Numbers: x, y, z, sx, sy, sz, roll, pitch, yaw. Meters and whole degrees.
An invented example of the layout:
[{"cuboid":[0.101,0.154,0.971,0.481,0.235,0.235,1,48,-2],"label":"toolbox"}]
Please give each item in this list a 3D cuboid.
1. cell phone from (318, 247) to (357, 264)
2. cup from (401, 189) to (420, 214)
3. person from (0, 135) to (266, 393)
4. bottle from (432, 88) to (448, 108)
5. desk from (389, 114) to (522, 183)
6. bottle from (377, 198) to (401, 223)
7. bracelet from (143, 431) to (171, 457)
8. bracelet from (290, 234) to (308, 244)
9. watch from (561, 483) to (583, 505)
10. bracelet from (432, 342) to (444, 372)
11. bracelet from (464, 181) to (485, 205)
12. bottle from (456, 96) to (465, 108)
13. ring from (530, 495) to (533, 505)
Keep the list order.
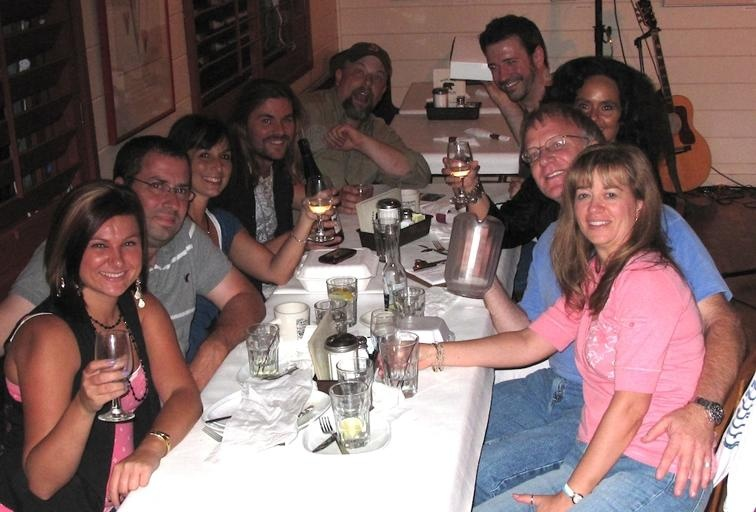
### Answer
[{"cuboid":[-0.170,0.002,2.553,0.127,0.073,0.123,1,-18,-43],"label":"cell phone"},{"cuboid":[0.183,-0.291,3.069,0.103,0.111,0.117,-1,12,5],"label":"cup"},{"cuboid":[-0.928,0.035,2.190,0.347,0.949,0.621,31,43,14],"label":"person"},{"cuboid":[0.514,-1.313,4.845,0.160,0.165,0.158,-1,9,1],"label":"bottle"},{"cuboid":[0.564,-0.873,4.321,0.668,0.226,0.982,3,21,5],"label":"desk"},{"cuboid":[0.047,-0.207,2.618,0.114,0.120,0.113,0,9,7],"label":"bottle"},{"cuboid":[-0.631,0.544,1.681,0.062,0.026,0.054,33,-21,12],"label":"bracelet"},{"cuboid":[-0.360,-0.080,2.667,0.059,0.017,0.059,3,-6,13],"label":"bracelet"},{"cuboid":[0.566,0.694,1.694,0.052,0.030,0.046,38,-14,4],"label":"watch"},{"cuboid":[0.205,0.345,1.967,0.031,0.071,0.068,0,-12,-1],"label":"bracelet"},{"cuboid":[0.463,-0.309,2.748,0.085,0.080,0.108,-11,24,20],"label":"bracelet"},{"cuboid":[0.685,-1.300,4.865,0.079,0.087,0.093,0,6,1],"label":"bottle"},{"cuboid":[0.475,0.753,1.791,0.013,0.031,0.008,4,14,29],"label":"ring"}]
